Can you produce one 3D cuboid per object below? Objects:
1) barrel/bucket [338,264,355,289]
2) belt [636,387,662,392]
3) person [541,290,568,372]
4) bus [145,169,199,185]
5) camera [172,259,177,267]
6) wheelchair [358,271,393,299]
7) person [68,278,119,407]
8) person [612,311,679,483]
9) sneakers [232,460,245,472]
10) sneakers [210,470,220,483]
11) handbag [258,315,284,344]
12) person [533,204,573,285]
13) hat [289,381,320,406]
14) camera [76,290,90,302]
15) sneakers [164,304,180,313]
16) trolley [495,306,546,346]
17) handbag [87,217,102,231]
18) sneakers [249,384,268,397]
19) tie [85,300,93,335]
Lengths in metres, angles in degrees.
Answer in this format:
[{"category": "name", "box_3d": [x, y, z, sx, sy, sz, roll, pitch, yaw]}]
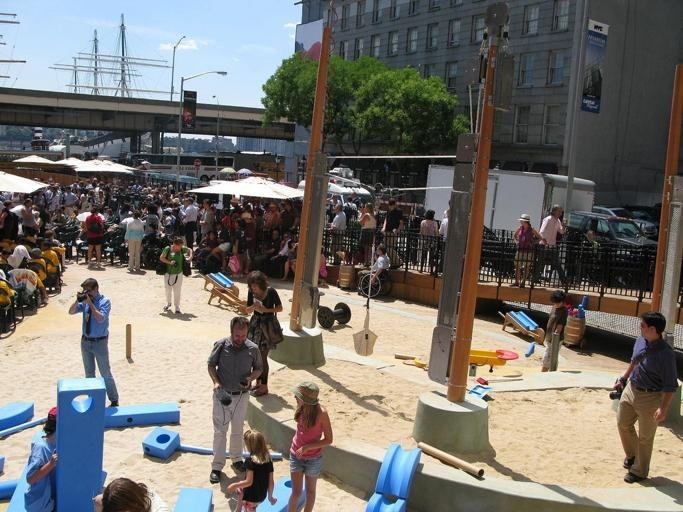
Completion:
[{"category": "barrel/bucket", "box_3d": [0.093, 0.721, 22.015, 0.625, 0.770, 0.640, 2, 5, 0]}, {"category": "belt", "box_3d": [4.404, 1.916, 9.475, 0.269, 0.066, 0.029, 5, 7, 15]}, {"category": "person", "box_3d": [4.528, 1.596, 14.007, 0.397, 1.758, 1.051, 5, 7, 18]}, {"category": "bus", "box_3d": [-14.878, -6.893, 58.087, 2.977, 0.823, 3.369, 11, 8, 22]}, {"category": "camera", "box_3d": [-4.382, 0.188, 17.395, 0.099, 0.114, 0.147, 7, -33, -16]}, {"category": "wheelchair", "box_3d": [1.082, 0.979, 21.140, 0.982, 1.134, 0.742, 3, 14, 1]}, {"category": "person", "box_3d": [-4.204, 1.533, 11.312, 0.780, 2.308, 1.243, 0, 7, -19]}, {"category": "person", "box_3d": [4.447, 2.048, 9.582, 0.571, 2.509, 1.110, 2, 7, -9]}, {"category": "sneakers", "box_3d": [-1.540, 3.159, 9.948, 0.089, 0.109, 0.257, -2, 14, -26]}, {"category": "sneakers", "box_3d": [-1.853, 3.240, 9.723, 0.082, 0.107, 0.231, 5, 8, -12]}, {"category": "handbag", "box_3d": [-1.233, 1.267, 11.341, 0.403, 0.536, 0.228, -24, -6, -27]}, {"category": "person", "box_3d": [5.869, -0.311, 18.537, 0.835, 2.205, 0.784, 4, 7, 9]}, {"category": "hat", "box_3d": [-0.469, 1.827, 8.741, 0.285, 0.156, 0.290, 25, 30, -6]}, {"category": "camera", "box_3d": [-4.330, 0.658, 11.055, 0.132, 0.109, 0.209, 10, 4, -31]}, {"category": "sneakers", "box_3d": [-4.604, 1.413, 17.931, 0.202, 0.164, 0.574, 3, -2, -23]}, {"category": "trolley", "box_3d": [5.016, 1.977, 18.283, 0.484, 0.609, 1.575, -1, 18, -30]}, {"category": "handbag", "box_3d": [-8.143, -1.061, 21.840, 0.367, 0.545, 0.174, 3, 18, 0]}, {"category": "sneakers", "box_3d": [-1.413, 2.322, 11.417, 0.371, 0.159, 0.127, 10, 3, -18]}, {"category": "tie", "box_3d": [-4.244, 1.086, 11.118, 0.177, 0.528, 0.062, 9, 9, 41]}]
